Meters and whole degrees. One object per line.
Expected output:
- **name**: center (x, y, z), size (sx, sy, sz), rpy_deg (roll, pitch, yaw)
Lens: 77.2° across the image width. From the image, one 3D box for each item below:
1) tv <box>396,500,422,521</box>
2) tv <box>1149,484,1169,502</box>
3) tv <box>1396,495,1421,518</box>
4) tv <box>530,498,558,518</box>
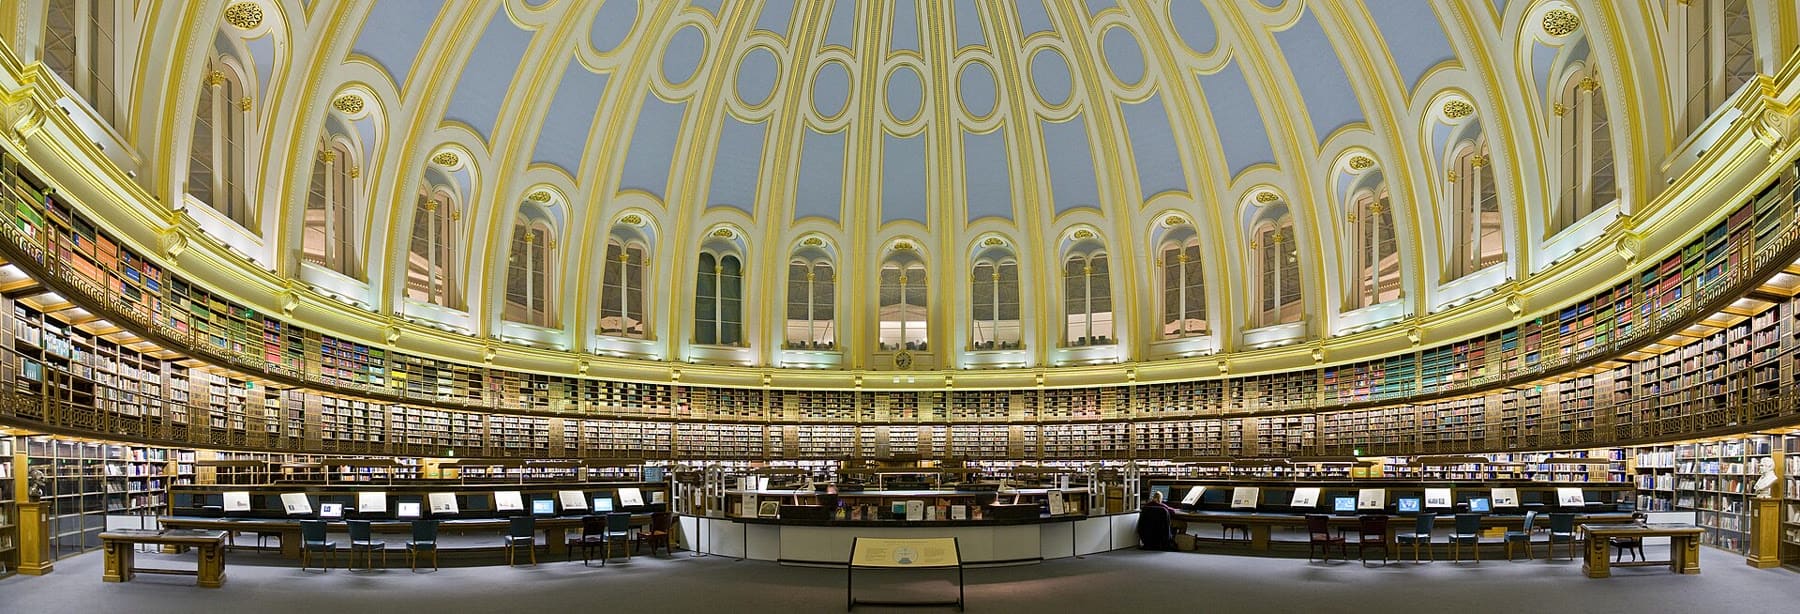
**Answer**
- **tv**: center (-18.560, 7.736, 42.953), size (1.545, 0.664, 0.622), rpy_deg (0, -23, -9)
- **tv**: center (10.366, 7.413, 44.919), size (0.972, 0.543, 0.411), rpy_deg (2, -15, -15)
- **tv**: center (19.633, 7.565, 43.246), size (1.007, 0.626, 0.323), rpy_deg (2, -20, -11)
- **tv**: center (-13.646, 7.690, 43.339), size (1.673, 0.704, 0.694), rpy_deg (2, -17, -12)
